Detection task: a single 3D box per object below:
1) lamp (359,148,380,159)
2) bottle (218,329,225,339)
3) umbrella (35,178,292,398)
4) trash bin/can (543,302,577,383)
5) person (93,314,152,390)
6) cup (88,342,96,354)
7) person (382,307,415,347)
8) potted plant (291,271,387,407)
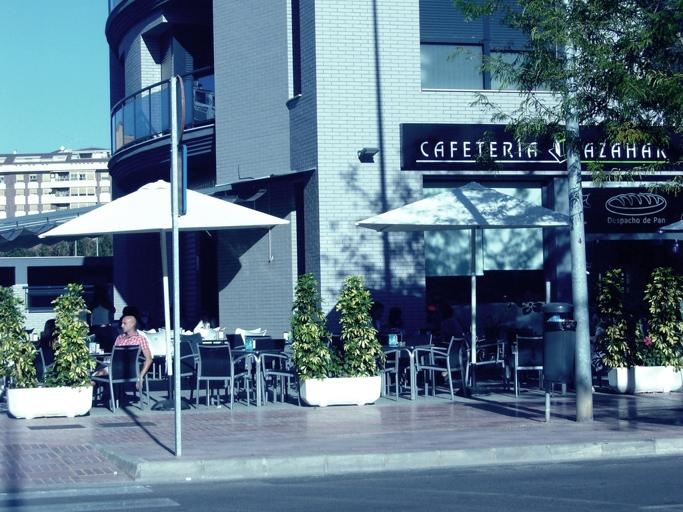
[{"bbox_3d":[0.548,-2.148,22.444,0.272,0.294,0.176,-4,35,-26],"label":"lamp"},{"bbox_3d":[-2.570,1.697,22.578,0.158,0.322,0.163,0,-3,0],"label":"bottle"},{"bbox_3d":[-3.638,0.472,19.772,3.647,2.649,3.272,-1,0,-44],"label":"umbrella"},{"bbox_3d":[3.460,1.405,16.773,0.509,1.285,0.547,-2,-3,6],"label":"trash bin/can"},{"bbox_3d":[-3.896,1.778,19.057,0.817,1.405,1.903,-1,-4,-13],"label":"person"},{"bbox_3d":[-4.680,1.754,19.844,0.146,0.179,0.195,1,-9,-6],"label":"cup"},{"bbox_3d":[1.114,1.435,21.076,0.624,1.213,0.701,-1,-1,8],"label":"person"},{"bbox_3d":[-0.074,1.591,19.076,2.066,2.898,1.284,-1,1,-3],"label":"potted plant"}]
